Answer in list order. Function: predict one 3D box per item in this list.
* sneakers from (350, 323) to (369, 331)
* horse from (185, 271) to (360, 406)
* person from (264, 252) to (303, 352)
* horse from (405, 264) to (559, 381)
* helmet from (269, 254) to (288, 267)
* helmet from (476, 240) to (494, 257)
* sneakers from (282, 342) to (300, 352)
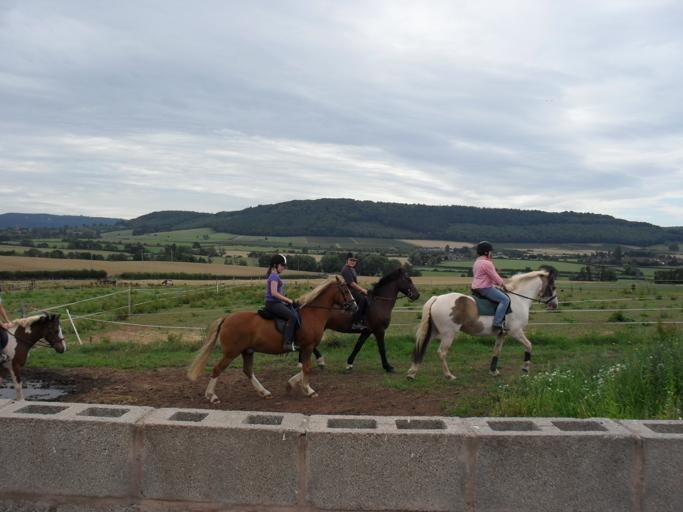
[{"bbox_3d":[0.464,1.878,13.758,0.528,0.164,0.148,-1,6,-6],"label":"sneakers"},{"bbox_3d":[-1.364,1.656,10.846,1.287,2.521,3.278,-5,-6,43],"label":"horse"},{"bbox_3d":[-1.205,0.967,10.714,0.694,2.017,0.706,0,-5,-7],"label":"person"},{"bbox_3d":[3.723,1.630,13.131,2.623,2.591,3.922,-3,-5,34],"label":"horse"},{"bbox_3d":[-1.222,0.072,10.728,0.399,0.237,0.259,-11,19,-15],"label":"helmet"},{"bbox_3d":[3.714,-0.241,13.259,0.502,0.390,0.384,-14,17,-19],"label":"helmet"},{"bbox_3d":[-1.025,1.830,10.530,0.331,0.083,0.275,0,2,1],"label":"sneakers"}]
